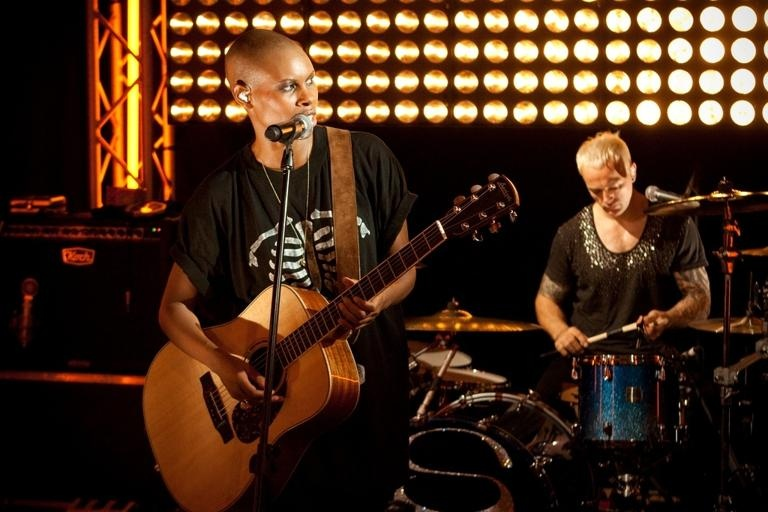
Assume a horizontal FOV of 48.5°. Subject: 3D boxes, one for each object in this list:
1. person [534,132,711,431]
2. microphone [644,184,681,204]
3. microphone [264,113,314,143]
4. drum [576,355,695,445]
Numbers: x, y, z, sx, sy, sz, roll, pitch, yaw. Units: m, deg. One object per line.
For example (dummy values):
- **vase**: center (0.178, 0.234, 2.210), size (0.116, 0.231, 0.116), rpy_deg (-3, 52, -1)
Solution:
- **person**: center (1.614, 0.097, 5.796), size (1.092, 1.775, 1.025), rpy_deg (3, 20, 22)
- **microphone**: center (1.819, -0.405, 5.507), size (0.094, 0.098, 0.269), rpy_deg (-25, 18, -29)
- **microphone**: center (-0.463, -0.637, 4.243), size (0.105, 0.121, 0.231), rpy_deg (42, 32, 17)
- **drum**: center (1.601, 0.856, 5.403), size (0.557, 0.449, 0.590), rpy_deg (0, -4, 0)
